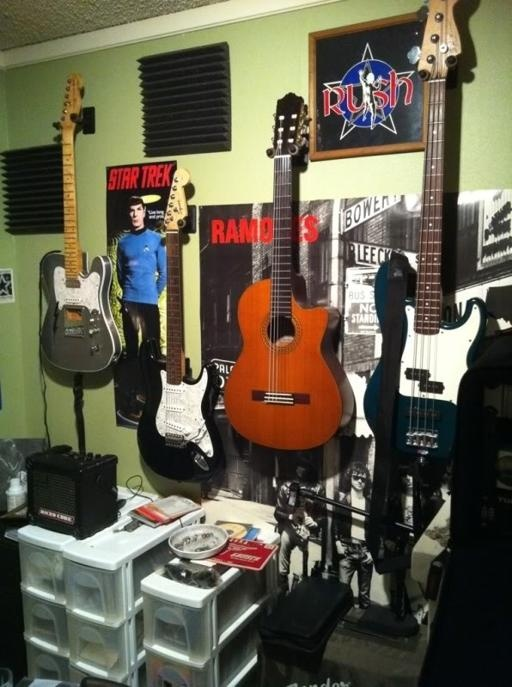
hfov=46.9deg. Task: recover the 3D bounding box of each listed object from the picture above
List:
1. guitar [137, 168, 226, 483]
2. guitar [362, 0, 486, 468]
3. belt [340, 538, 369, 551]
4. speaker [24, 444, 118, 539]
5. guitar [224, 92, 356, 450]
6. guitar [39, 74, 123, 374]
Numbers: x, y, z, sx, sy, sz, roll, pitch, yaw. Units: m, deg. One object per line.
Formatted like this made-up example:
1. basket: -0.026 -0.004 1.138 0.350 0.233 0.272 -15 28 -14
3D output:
1. guitar: -0.275 -0.059 2.085 0.368 1.086 0.121 5 10 36
2. guitar: 0.468 -0.282 1.521 0.156 1.200 0.189 -4 8 -23
3. belt: 0.314 0.657 1.944 0.053 0.050 0.019 -5 7 27
4. speaker: -0.647 0.500 2.041 0.253 0.273 0.177 7 12 25
5. guitar: 0.105 -0.195 1.872 0.399 1.161 0.269 3 9 25
6. guitar: -0.704 -0.467 2.325 0.416 1.130 0.164 5 10 37
